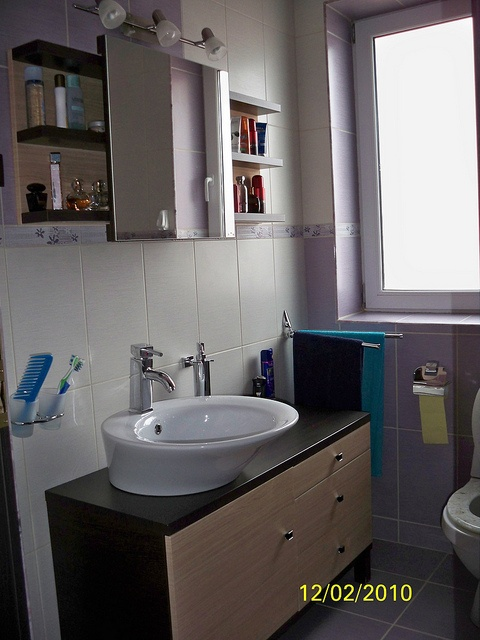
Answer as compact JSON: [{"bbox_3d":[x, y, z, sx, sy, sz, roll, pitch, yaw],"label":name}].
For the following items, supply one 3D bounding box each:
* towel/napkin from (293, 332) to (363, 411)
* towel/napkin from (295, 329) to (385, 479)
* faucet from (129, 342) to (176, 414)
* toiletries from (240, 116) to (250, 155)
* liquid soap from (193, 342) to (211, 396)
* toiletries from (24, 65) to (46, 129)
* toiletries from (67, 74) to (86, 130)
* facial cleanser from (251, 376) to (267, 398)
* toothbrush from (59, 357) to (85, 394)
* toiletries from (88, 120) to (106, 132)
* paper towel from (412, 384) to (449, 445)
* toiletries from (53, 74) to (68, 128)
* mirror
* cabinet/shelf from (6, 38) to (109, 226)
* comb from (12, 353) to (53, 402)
[{"bbox_3d":[0.368,0.209,2.070,0.322,0.333,0.069,-4,0,45],"label":"towel/napkin"},{"bbox_3d":[0.477,0.346,2.266,0.231,0.589,0.509,7,10,29],"label":"towel/napkin"},{"bbox_3d":[-0.254,0.162,1.415,0.098,0.228,0.104,16,18,39],"label":"faucet"},{"bbox_3d":[0.017,-0.705,1.849,0.048,0.142,0.018,-4,0,-43],"label":"toiletries"},{"bbox_3d":[-0.144,0.177,1.799,0.061,0.195,0.103,-4,0,-6],"label":"liquid soap"},{"bbox_3d":[-0.467,-0.501,1.106,0.041,0.143,0.084,-4,0,-24],"label":"toiletries"},{"bbox_3d":[-0.409,-0.522,1.192,0.044,0.166,0.039,-1,-17,-26],"label":"toiletries"},{"bbox_3d":[0.079,0.282,2.059,0.075,0.126,0.073,0,-4,2],"label":"facial cleanser"},{"bbox_3d":[-0.459,0.145,1.308,0.017,0.083,0.081,20,3,-12],"label":"toothbrush"},{"bbox_3d":[-0.366,-0.494,1.237,0.033,0.029,0.038,-2,0,-13],"label":"toiletries"},{"bbox_3d":[0.839,0.404,2.114,0.127,0.272,0.039,-4,4,42],"label":"paper towel"},{"bbox_3d":[-0.439,-0.530,1.185,0.028,0.127,0.038,-4,0,-22],"label":"toiletries"},{"bbox_3d":[-0.210,-0.522,1.446,0.074,0.601,0.481,-4,0,39],"label":"mirror"},{"bbox_3d":[-0.428,-0.451,1.173,0.230,0.445,0.223,-4,0,-26],"label":"cabinet/shelf"},{"bbox_3d":[-0.498,0.137,1.159,0.088,0.114,0.055,-4,0,-33],"label":"comb"}]
